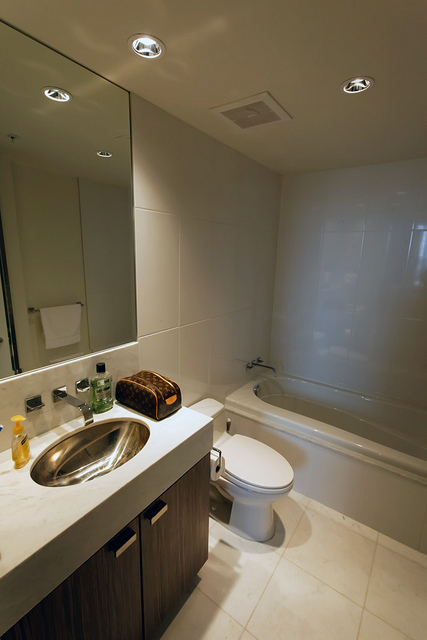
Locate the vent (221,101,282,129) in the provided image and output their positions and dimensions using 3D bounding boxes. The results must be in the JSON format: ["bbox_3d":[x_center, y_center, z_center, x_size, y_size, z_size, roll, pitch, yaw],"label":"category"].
[{"bbox_3d":[0.161,-0.849,1.701,0.204,0.042,0.215,11,17,31],"label":"vent"}]

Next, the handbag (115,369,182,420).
[{"bbox_3d":[-0.264,0.293,1.649,0.236,0.141,0.153,12,13,34],"label":"handbag"}]

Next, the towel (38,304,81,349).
[{"bbox_3d":[-0.545,0.018,1.417,0.019,0.101,0.128,14,19,26],"label":"towel"}]

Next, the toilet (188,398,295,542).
[{"bbox_3d":[0.121,0.739,2.172,0.654,0.558,0.430,11,19,37],"label":"toilet"}]

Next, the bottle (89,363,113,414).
[{"bbox_3d":[-0.432,0.253,1.560,0.072,0.199,0.048,-2,13,-15],"label":"bottle"}]
